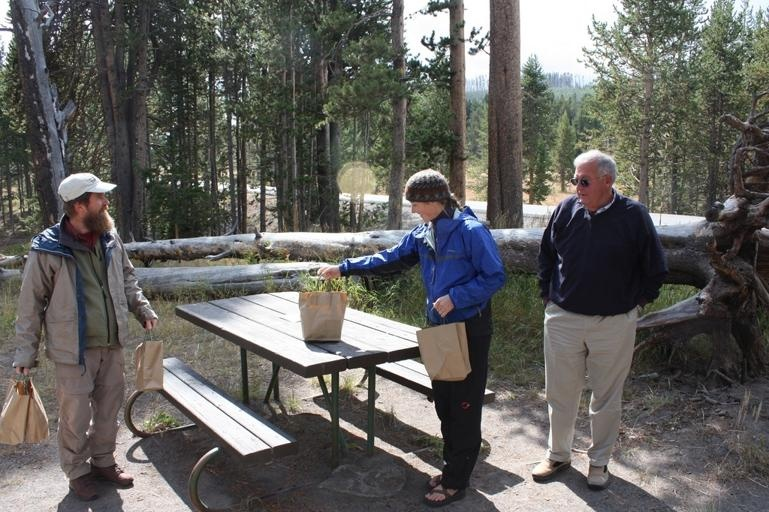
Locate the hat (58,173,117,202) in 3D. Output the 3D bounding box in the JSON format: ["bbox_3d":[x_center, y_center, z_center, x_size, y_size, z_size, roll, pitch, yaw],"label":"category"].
[{"bbox_3d":[-3.477,-0.821,7.885,0.527,0.254,0.367,-14,17,-14],"label":"hat"}]

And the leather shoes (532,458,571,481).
[{"bbox_3d":[1.987,2.500,8.118,0.510,0.251,0.202,-11,7,-26],"label":"leather shoes"}]

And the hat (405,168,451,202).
[{"bbox_3d":[0.493,-0.800,7.702,0.448,0.372,0.503,-1,6,-7],"label":"hat"}]

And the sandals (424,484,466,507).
[{"bbox_3d":[0.688,2.748,7.728,0.378,0.174,0.222,1,10,-7],"label":"sandals"}]

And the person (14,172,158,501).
[{"bbox_3d":[-3.512,0.923,7.845,1.372,3.708,0.611,-5,9,-25],"label":"person"}]

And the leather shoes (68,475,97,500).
[{"bbox_3d":[-3.510,2.675,7.851,0.379,0.267,0.146,0,8,12],"label":"leather shoes"}]

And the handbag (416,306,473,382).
[{"bbox_3d":[0.694,0.984,7.505,0.658,0.792,0.304,-12,4,7],"label":"handbag"}]

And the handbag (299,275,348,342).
[{"bbox_3d":[-0.723,0.578,7.912,0.541,0.915,0.253,1,37,-13],"label":"handbag"}]

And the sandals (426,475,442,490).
[{"bbox_3d":[0.581,2.632,7.863,0.054,0.206,0.130,39,3,-38],"label":"sandals"}]
